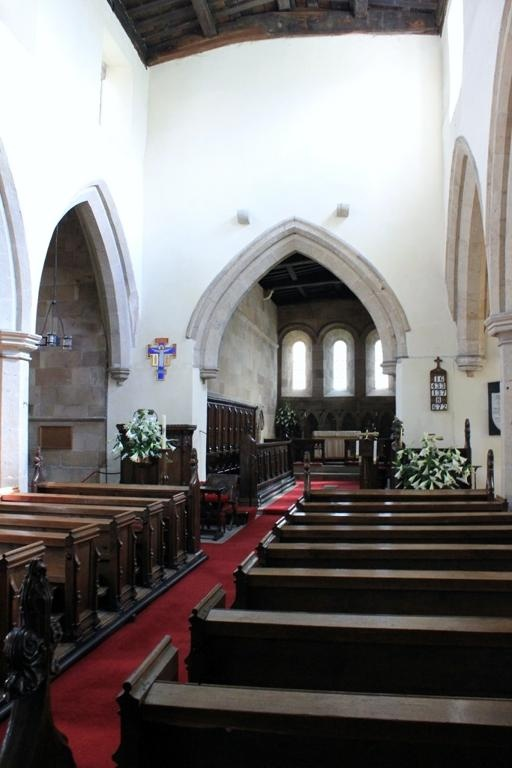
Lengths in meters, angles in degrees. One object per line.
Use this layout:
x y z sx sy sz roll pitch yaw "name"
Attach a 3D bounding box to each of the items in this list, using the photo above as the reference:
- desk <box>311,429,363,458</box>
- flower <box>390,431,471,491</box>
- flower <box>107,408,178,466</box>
1.792 1.363 14.588 0.968 0.649 1.677 9 -1 7 "desk"
1.801 0.855 6.690 0.697 0.592 0.694 3 -7 -31 "flower"
-1.314 0.494 7.500 0.676 0.693 0.781 0 2 -20 "flower"
